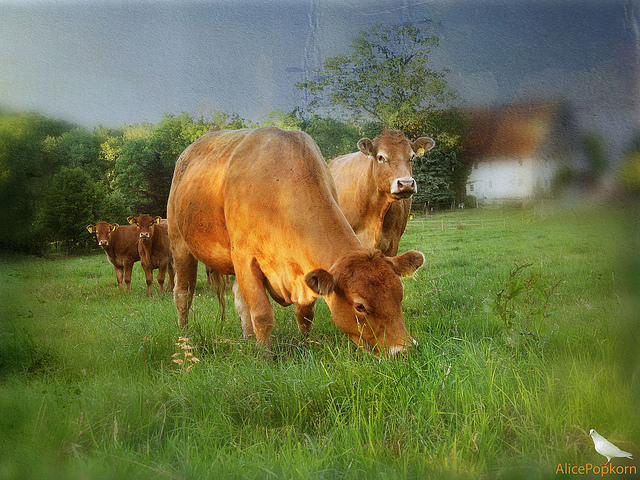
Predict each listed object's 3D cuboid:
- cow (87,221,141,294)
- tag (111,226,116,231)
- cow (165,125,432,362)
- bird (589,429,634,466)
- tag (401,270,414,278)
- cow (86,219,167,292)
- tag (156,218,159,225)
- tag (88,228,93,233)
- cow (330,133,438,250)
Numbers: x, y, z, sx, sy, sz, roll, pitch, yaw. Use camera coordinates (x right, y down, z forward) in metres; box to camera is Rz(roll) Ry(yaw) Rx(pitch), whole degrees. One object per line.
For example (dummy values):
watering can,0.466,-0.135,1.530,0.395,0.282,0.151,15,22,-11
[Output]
cow,-4.537,0.381,11.465,0.623,1.748,2.504,-9,5,-3
tag,-4.409,-0.256,10.604,0.070,0.036,0.125,-33,8,-36
cow,-0.472,0.076,4.687,1.063,2.113,3.497,-1,7,-39
bird,1.892,1.334,3.224,0.345,0.258,0.130,1,1,-6
tag,0.642,0.252,3.756,0.031,0.067,0.116,1,-10,-36
cow,-4.524,0.404,11.703,0.646,1.600,2.650,-8,0,2
tag,-3.743,-0.437,11.481,0.060,0.067,0.130,7,-10,-1
tag,-2.279,-0.098,4.932,0.027,0.048,0.083,-3,3,-33
cow,0.641,-0.488,7.496,1.070,1.953,3.404,2,1,-11
